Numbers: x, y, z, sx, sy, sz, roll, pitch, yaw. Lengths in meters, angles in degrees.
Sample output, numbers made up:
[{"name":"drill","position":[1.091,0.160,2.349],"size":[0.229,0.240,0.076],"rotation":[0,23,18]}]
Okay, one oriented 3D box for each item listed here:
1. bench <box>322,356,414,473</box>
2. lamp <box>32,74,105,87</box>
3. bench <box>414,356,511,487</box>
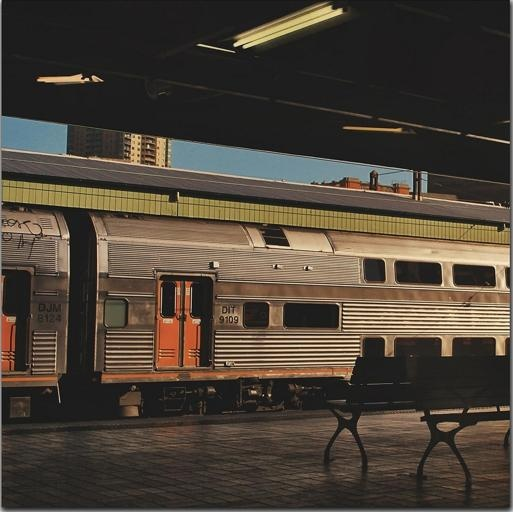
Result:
[{"name":"bench","position":[1.283,2.038,13.733],"size":[0.743,1.311,2.077],"rotation":[-1,-7,8]},{"name":"lamp","position":[-2.269,-2.109,12.457],"size":[0.935,0.183,0.108],"rotation":[-4,11,-31]},{"name":"bench","position":[2.612,2.014,13.101],"size":[1.199,1.600,2.778],"rotation":[-2,-10,11]}]
